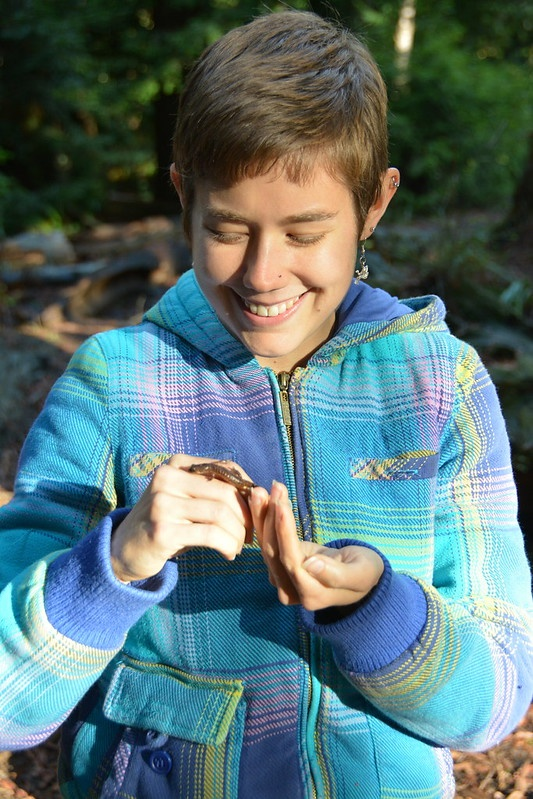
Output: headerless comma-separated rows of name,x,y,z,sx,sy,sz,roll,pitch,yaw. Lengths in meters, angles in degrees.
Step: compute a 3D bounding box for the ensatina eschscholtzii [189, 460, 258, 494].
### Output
ensatina eschscholtzii,-0.083,0.141,1.351,0.129,0.082,0.062,11,64,2
